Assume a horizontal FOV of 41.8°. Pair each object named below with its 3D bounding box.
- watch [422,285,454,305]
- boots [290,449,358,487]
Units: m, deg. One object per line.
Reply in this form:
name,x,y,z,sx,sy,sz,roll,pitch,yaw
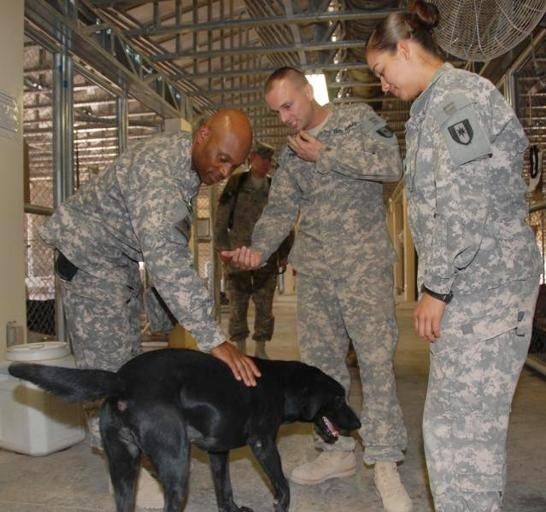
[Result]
watch,0.568,0.133,2.438,0.072,0.022,0.063,19,-5,1
boots,0.244,1.021,3.517,0.387,0.178,0.129,0,10,-11
